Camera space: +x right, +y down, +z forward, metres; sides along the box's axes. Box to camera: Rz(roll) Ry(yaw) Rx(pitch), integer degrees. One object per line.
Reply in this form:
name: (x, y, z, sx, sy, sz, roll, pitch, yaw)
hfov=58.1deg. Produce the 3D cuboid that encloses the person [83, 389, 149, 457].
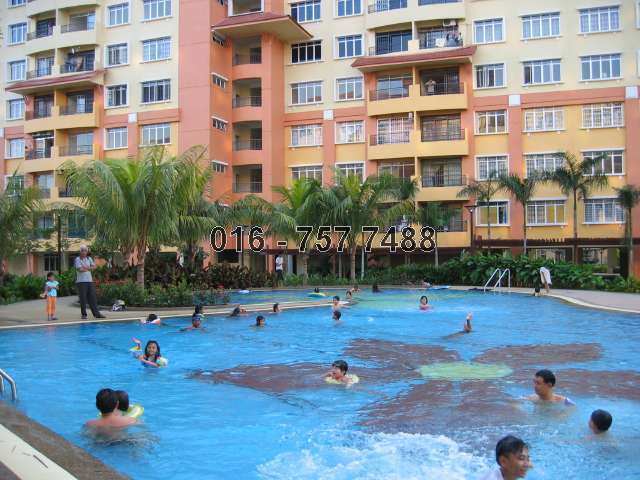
person: (-3.321, 2.975, 9.285, 0.678, 1.743, 0.698, 0, 2, 1)

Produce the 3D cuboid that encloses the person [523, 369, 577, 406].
person: (4.009, 2.612, 10.112, 0.450, 0.684, 1.058, 11, -18, -31)

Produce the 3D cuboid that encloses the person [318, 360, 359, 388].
person: (0.424, 2.617, 11.468, 0.712, 0.469, 0.569, -2, -2, 2)

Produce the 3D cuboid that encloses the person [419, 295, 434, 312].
person: (4.119, 2.445, 22.258, 0.423, 0.821, 0.348, 1, -35, -3)

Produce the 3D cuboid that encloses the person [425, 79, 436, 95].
person: (7.898, -10.768, 40.466, 0.789, 1.222, 0.871, -2, -2, -3)

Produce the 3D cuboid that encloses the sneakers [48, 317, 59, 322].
sneakers: (-8.072, 2.371, 17.315, 0.257, 0.111, 0.103, 0, -6, 4)
